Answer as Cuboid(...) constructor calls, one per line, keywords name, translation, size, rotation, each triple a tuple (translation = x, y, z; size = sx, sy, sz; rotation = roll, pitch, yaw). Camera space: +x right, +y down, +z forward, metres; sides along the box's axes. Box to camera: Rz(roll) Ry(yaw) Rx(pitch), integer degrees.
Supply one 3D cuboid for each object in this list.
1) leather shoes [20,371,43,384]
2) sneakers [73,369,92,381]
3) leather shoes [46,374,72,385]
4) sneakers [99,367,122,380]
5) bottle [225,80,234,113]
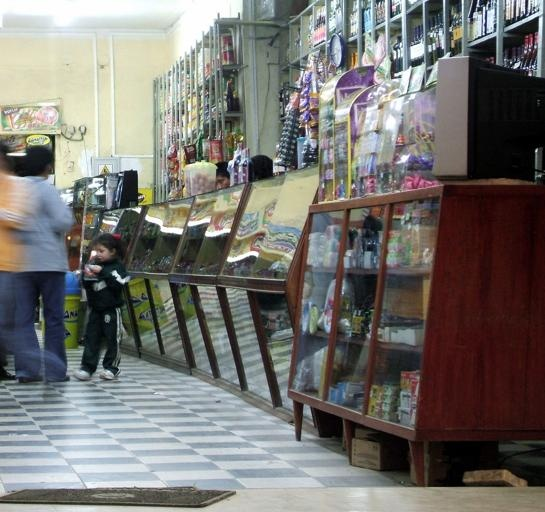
Cuboid(name="leather shoes", translation=(-1.990, 1.000, 4.954), size=(0.177, 0.074, 0.063), rotation=(-1, 4, -32))
Cuboid(name="sneakers", translation=(-1.630, 1.024, 5.199), size=(0.148, 0.069, 0.068), rotation=(15, -4, -1))
Cuboid(name="leather shoes", translation=(-1.780, 1.031, 5.018), size=(0.194, 0.077, 0.065), rotation=(7, -3, -23))
Cuboid(name="sneakers", translation=(-1.418, 1.038, 5.269), size=(0.078, 0.092, 0.206), rotation=(-3, -10, 24))
Cuboid(name="bottle", translation=(-0.767, -2.858, 10.833), size=(0.134, 0.661, 0.289), rotation=(0, -3, -4))
